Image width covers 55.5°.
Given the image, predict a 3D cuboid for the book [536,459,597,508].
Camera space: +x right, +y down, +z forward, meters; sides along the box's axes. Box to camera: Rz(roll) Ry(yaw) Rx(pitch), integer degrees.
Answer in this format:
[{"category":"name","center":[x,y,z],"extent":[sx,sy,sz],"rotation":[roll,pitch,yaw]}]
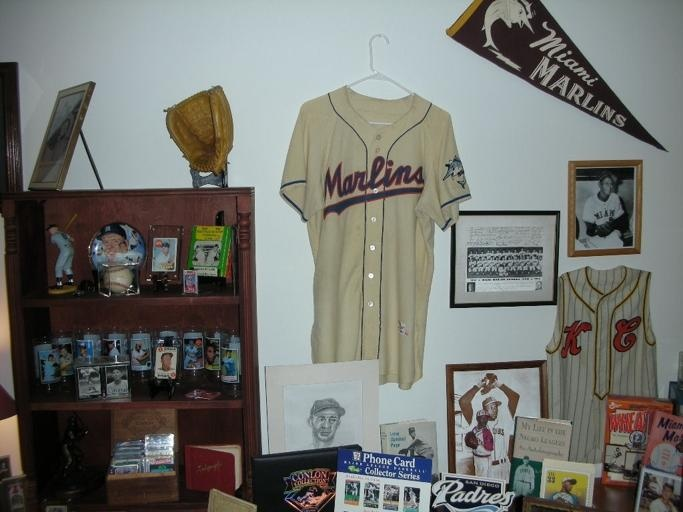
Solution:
[{"category":"book","center":[0.962,0.979,2.799],"extent":[0.171,0.202,0.014],"rotation":[7,-6,9]}]

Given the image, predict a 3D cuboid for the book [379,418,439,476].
[{"category":"book","center":[0.299,0.857,2.913],"extent":[0.224,0.251,0.094],"rotation":[0,-1,1]}]

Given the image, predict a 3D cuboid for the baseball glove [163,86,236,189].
[{"category":"baseball glove","center":[-0.603,-0.510,2.924],"extent":[0.348,0.431,0.388],"rotation":[10,25,-21]}]

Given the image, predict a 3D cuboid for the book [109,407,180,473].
[{"category":"book","center":[-0.914,0.909,3.027],"extent":[0.295,0.263,0.304],"rotation":[3,21,-19]}]

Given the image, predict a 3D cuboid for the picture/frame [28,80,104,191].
[{"category":"picture/frame","center":[-1.240,-0.559,2.894],"extent":[0.046,0.709,0.454],"rotation":[22,-14,-41]}]

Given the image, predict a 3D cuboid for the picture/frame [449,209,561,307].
[{"category":"picture/frame","center":[0.767,-0.010,3.129],"extent":[0.393,0.402,0.032],"rotation":[0,4,-4]}]

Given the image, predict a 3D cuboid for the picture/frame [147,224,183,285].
[{"category":"picture/frame","center":[-0.812,-0.022,2.965],"extent":[0.148,0.289,0.034],"rotation":[0,33,-21]}]

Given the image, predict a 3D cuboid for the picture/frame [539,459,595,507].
[{"category":"picture/frame","center":[0.968,0.976,2.793],"extent":[0.163,0.193,0.012],"rotation":[7,-6,9]}]

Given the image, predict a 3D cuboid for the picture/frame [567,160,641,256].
[{"category":"picture/frame","center":[1.263,-0.255,3.159],"extent":[0.368,0.517,0.022],"rotation":[-3,7,-4]}]

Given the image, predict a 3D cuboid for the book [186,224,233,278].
[{"category":"book","center":[-0.582,-0.024,2.878],"extent":[0.191,0.230,0.054],"rotation":[-3,-7,9]}]

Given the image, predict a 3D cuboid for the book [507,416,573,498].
[{"category":"book","center":[0.896,0.915,2.908],"extent":[0.244,0.054,0.428],"rotation":[-1,34,25]}]

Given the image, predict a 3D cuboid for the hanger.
[{"category":"hanger","center":[0.159,-0.877,3.018],"extent":[0.337,0.262,0.004],"rotation":[13,28,31]}]

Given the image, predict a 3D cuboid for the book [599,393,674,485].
[{"category":"book","center":[1.341,0.833,2.936],"extent":[0.320,0.525,0.055],"rotation":[3,3,5]}]
